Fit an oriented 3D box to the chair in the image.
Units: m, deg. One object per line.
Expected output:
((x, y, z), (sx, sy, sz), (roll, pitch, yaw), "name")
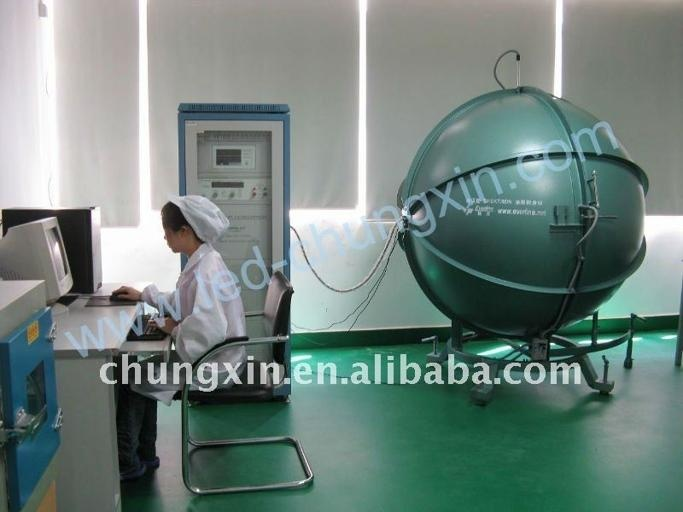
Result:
((-0.587, 0.686, 3.665), (0.951, 1.593, 0.975), (2, 3, -10), "chair")

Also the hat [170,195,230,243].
((-0.764, -0.190, 3.085), (0.296, 0.272, 0.120), (-5, 14, -19), "hat")

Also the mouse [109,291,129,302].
((-1.289, 0.235, 3.304), (0.077, 0.030, 0.062), (4, 1, -13), "mouse")

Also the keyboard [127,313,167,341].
((-1.029, 0.393, 3.006), (0.117, 0.046, 0.179), (3, 16, -13), "keyboard")

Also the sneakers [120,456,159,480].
((-1.129, 1.184, 3.208), (0.201, 0.096, 0.069), (0, 2, -42), "sneakers")
